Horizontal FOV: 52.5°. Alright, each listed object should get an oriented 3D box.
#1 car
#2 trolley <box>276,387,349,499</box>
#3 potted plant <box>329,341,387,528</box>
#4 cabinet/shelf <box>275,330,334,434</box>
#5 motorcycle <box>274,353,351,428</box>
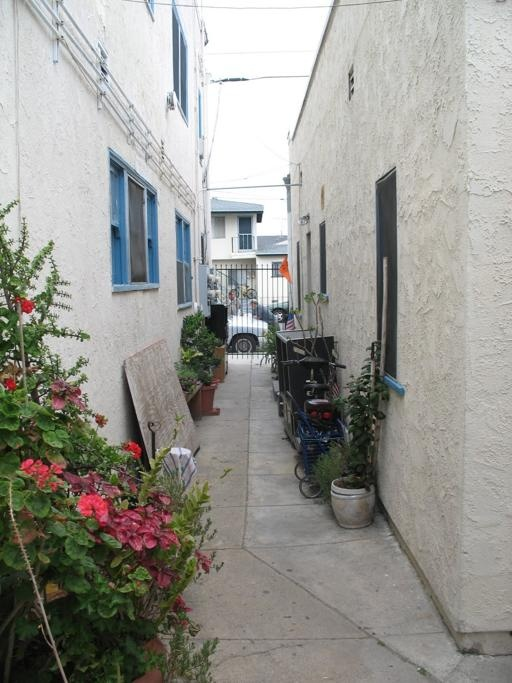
[{"bbox_3d":[-0.220,-0.386,17.311,2.129,1.516,1.349,-4,9,0],"label":"car"},{"bbox_3d":[0.626,1.039,5.684,0.349,1.447,0.670,-2,11,-14],"label":"trolley"},{"bbox_3d":[0.882,0.801,4.563,0.451,1.574,0.667,0,1,10],"label":"potted plant"},{"bbox_3d":[0.620,0.535,6.675,0.356,1.520,1.129,-1,6,-5],"label":"cabinet/shelf"},{"bbox_3d":[0.755,0.519,6.420,0.575,1.074,0.854,0,-1,-6],"label":"motorcycle"}]
